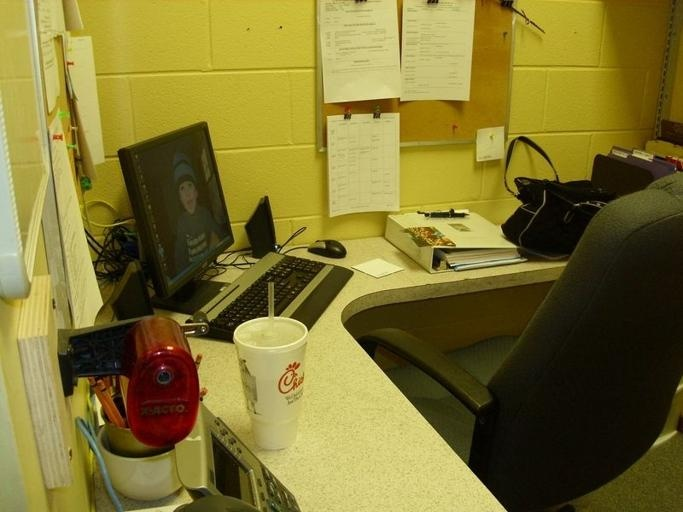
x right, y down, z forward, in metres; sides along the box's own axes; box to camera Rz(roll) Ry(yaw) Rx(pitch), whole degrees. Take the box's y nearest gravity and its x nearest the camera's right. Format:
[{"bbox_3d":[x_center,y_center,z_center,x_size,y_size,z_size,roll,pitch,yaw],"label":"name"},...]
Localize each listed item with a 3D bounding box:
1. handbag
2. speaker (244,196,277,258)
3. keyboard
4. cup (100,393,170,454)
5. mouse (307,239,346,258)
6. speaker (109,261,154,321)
[{"bbox_3d":[0.678,-0.206,1.742,0.265,0.348,0.356,-12,32,-43],"label":"handbag"},{"bbox_3d":[-0.262,-0.091,1.651,0.085,0.162,0.160,-9,14,4],"label":"speaker"},{"bbox_3d":[-0.163,0.104,1.370,0.263,0.061,0.425,11,27,19],"label":"keyboard"},{"bbox_3d":[-0.323,0.272,0.817,0.083,0.052,0.077,3,22,-1],"label":"cup"},{"bbox_3d":[-0.039,-0.034,1.665,0.094,0.031,0.057,14,22,25],"label":"mouse"},{"bbox_3d":[-0.421,0.078,1.043,0.034,0.129,0.145,3,51,-11],"label":"speaker"}]
